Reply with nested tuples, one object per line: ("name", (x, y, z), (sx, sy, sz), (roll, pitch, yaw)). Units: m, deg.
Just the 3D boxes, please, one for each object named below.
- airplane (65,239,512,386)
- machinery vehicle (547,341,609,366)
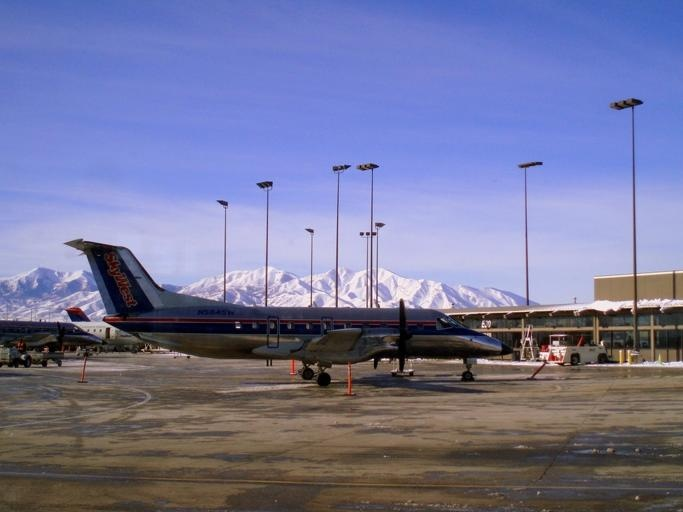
("airplane", (-1.755, 2.736, 42.816), (18.768, 6.117, 14.741), (-1, -4, 1))
("machinery vehicle", (14.597, 6.041, 54.793), (3.186, 0.709, 1.489), (0, -1, -20))
